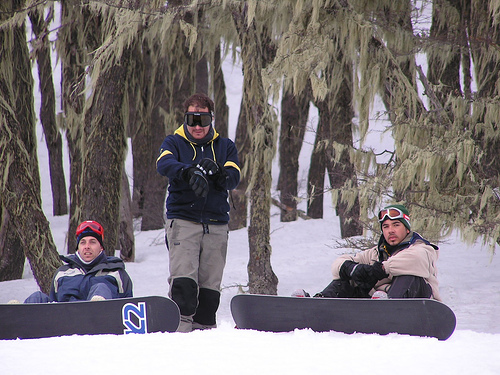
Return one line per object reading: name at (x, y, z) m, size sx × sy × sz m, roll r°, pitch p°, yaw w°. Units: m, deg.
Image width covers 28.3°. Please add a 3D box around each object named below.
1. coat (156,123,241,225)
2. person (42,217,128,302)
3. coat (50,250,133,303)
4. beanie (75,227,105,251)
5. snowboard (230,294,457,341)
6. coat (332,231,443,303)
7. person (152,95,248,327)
coat at (-0.631, -0.237, 13.559) m, size 1.117 × 1.843 × 1.120 m, roll 3°, pitch -16°, yaw -16°
person at (-2.231, 1.202, 13.758) m, size 0.796 × 1.413 × 1.168 m, roll -4°, pitch -26°, yaw -3°
coat at (-2.157, 1.197, 13.438) m, size 1.091 × 0.690 × 0.462 m, roll -1°, pitch 2°, yaw -16°
beanie at (-2.201, 0.642, 13.599) m, size 0.235 × 0.410 × 0.225 m, roll -2°, pitch 5°, yaw -7°
snowboard at (1.205, 1.652, 12.723) m, size 2.818 × 0.529 × 0.100 m, roll 0°, pitch 2°, yaw 8°
coat at (1.900, 1.024, 13.250) m, size 1.275 × 0.887 × 0.519 m, roll 0°, pitch 2°, yaw 13°
person at (-0.681, 0.309, 13.161) m, size 1.038 × 3.073 × 0.674 m, roll -1°, pitch 2°, yaw -20°
